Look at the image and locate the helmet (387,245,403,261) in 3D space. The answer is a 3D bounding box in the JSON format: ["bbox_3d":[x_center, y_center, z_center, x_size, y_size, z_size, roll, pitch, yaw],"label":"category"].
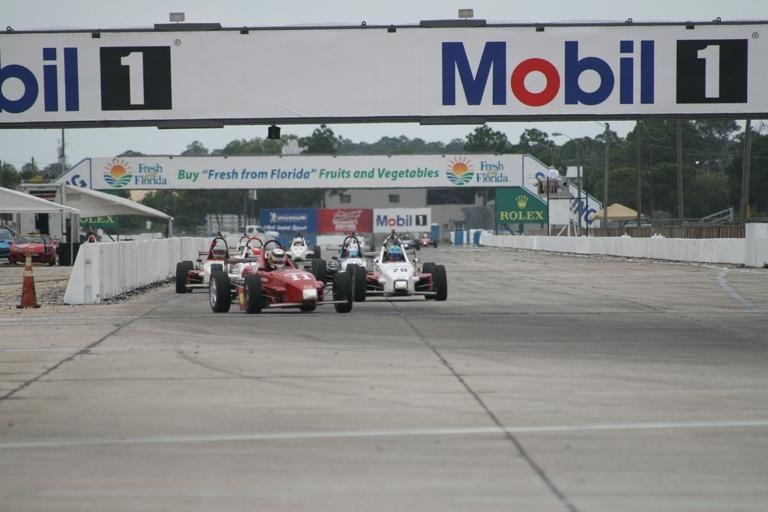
[{"bbox_3d":[0.297,-0.074,30.239,0.296,0.373,0.392,1,27,0],"label":"helmet"}]
